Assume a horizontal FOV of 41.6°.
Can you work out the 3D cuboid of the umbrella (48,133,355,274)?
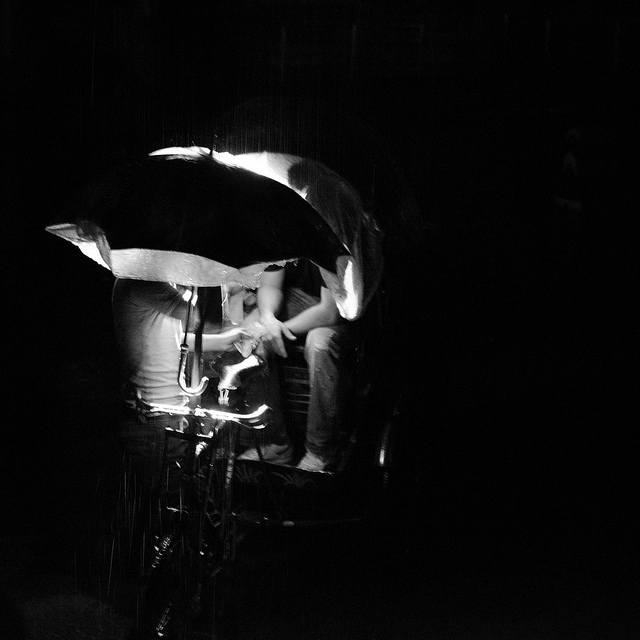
[{"bbox_3d":[-0.373,-0.383,2.630,0.820,0.310,0.802,-16,-16,42],"label":"umbrella"}]

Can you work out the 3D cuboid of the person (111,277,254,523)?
[{"bbox_3d":[-0.651,0.298,3.040,0.315,0.859,0.201,4,-8,-10],"label":"person"}]
